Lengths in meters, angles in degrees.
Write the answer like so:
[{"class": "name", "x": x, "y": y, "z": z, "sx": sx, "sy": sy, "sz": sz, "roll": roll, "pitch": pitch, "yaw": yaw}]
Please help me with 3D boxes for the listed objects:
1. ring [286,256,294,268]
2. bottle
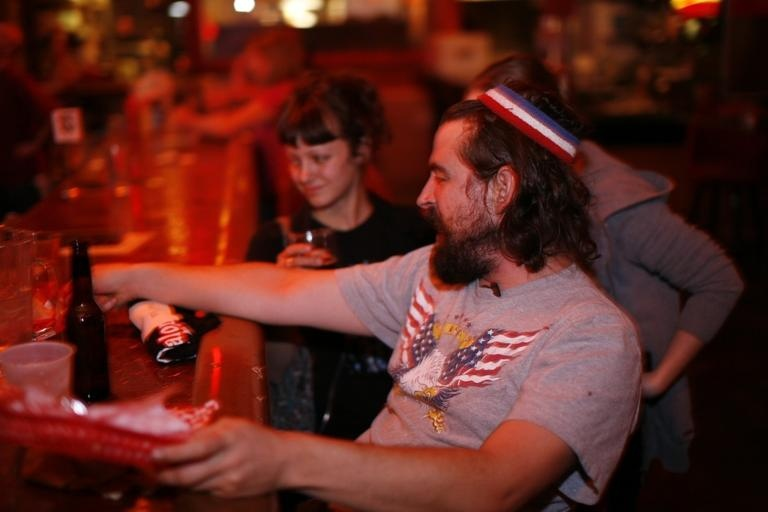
[{"class": "ring", "x": -0.320, "y": 0.022, "z": 2.410, "sx": 0.021, "sy": 0.028, "sz": 0.008, "roll": 9, "pitch": -6, "yaw": 4}, {"class": "bottle", "x": -0.806, "y": 0.157, "z": 1.890, "sx": 0.098, "sy": 0.403, "sz": 0.260, "roll": -9, "pitch": 17, "yaw": -23}]
